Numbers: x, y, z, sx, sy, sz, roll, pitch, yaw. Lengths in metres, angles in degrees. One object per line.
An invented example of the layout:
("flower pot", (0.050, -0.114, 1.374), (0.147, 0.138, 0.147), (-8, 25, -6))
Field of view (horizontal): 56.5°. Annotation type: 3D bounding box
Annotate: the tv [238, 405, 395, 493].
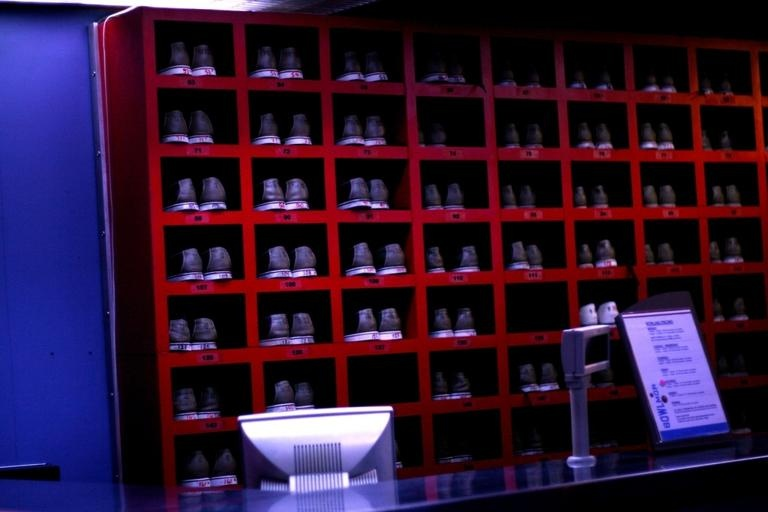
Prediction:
("tv", (-0.252, 0.718, 2.745), (0.606, 0.294, 0.509), (-2, -5, -4))
